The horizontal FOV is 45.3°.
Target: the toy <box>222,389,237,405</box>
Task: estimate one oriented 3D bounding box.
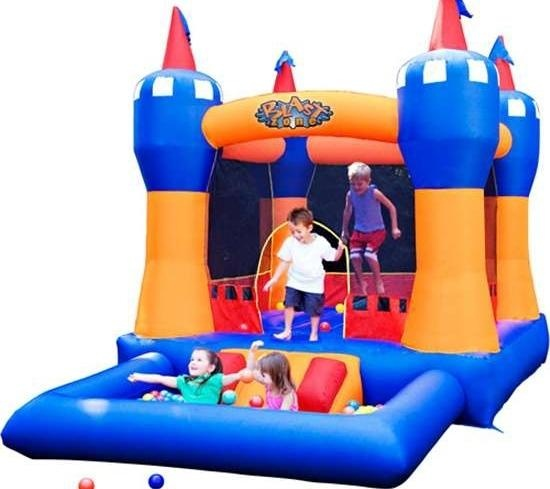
[{"bbox_3d":[-0.295,0.976,4.258,0.077,0.089,0.082,12,27,3],"label":"toy"}]

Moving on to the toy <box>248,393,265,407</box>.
[{"bbox_3d":[-0.114,0.960,4.095,0.067,0.078,0.071,2,4,-15],"label":"toy"}]

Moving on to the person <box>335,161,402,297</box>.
[{"bbox_3d":[0.843,-0.159,5.892,0.479,1.204,1.156,2,-2,6],"label":"person"}]

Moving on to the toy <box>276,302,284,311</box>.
[{"bbox_3d":[0.050,0.589,6.293,0.059,0.067,0.075,2,35,-6],"label":"toy"}]

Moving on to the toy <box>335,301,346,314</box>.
[{"bbox_3d":[0.595,0.587,6.062,0.101,0.120,0.131,4,1,-2],"label":"toy"}]

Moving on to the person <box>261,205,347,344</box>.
[{"bbox_3d":[0.241,0.234,5.119,0.557,0.983,0.645,1,-2,12],"label":"person"}]

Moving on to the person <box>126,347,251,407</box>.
[{"bbox_3d":[-0.518,0.853,4.303,0.878,0.366,0.318,1,-2,22],"label":"person"}]

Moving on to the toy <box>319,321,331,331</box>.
[{"bbox_3d":[0.415,0.668,5.414,0.062,0.073,0.078,-9,20,4],"label":"toy"}]
